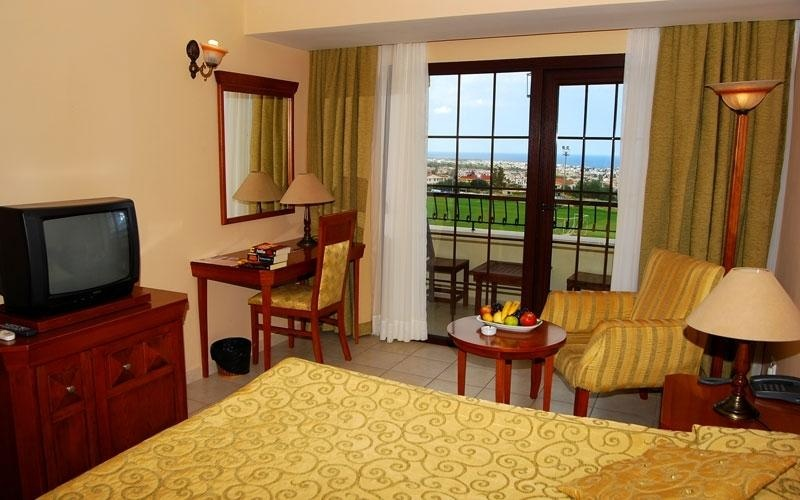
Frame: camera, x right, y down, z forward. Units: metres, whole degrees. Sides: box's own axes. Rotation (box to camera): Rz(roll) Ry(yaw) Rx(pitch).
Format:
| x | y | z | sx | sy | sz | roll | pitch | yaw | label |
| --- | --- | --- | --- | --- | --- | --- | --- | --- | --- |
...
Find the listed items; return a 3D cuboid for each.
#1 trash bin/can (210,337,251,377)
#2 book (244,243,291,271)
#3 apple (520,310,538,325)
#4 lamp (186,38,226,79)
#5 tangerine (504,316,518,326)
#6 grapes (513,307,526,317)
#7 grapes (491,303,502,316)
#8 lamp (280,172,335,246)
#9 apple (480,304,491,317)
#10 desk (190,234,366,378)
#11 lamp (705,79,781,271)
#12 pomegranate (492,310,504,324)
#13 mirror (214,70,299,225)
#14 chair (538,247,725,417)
| x | y | z | sx | sy | sz | roll | pitch | yaw | label |
| --- | --- | --- | --- | --- | --- | --- | --- | --- | --- |
| -1.622 | 0.980 | 5.253 | 0.355 | 0.244 | 0.344 | 6 | 12 | 38 | trash bin/can |
| -1.272 | 0.059 | 5.089 | 0.302 | 0.107 | 0.242 | 8 | 13 | 38 | book |
| 1.005 | 0.532 | 4.327 | 0.112 | 0.108 | 0.111 | 1 | 10 | 13 | apple |
| -1.651 | -1.677 | 4.830 | 0.321 | 0.348 | 0.466 | -11 | 17 | -38 | lamp |
| 0.839 | 0.549 | 4.252 | 0.077 | 0.072 | 0.074 | -3 | 45 | 22 | tangerine |
| 0.933 | 0.492 | 4.376 | 0.070 | 0.045 | 0.093 | -3 | 3 | 4 | grapes |
| 0.761 | 0.462 | 4.373 | 0.070 | 0.060 | 0.083 | 0 | 1 | 4 | grapes |
| -0.962 | -0.415 | 5.660 | 0.752 | 0.861 | 0.696 | 0 | 9 | -2 | lamp |
| 0.663 | 0.485 | 4.367 | 0.077 | 0.075 | 0.076 | 6 | 2 | 39 | apple |
| -1.133 | 0.203 | 5.414 | 1.138 | 1.358 | 2.108 | 8 | 15 | 29 | desk |
| 2.601 | -0.551 | 4.394 | 0.432 | 1.522 | 0.790 | 9 | 16 | 31 | lamp |
| 0.752 | 0.526 | 4.316 | 0.079 | 0.091 | 0.080 | -10 | -2 | 16 | pomegranate |
| -1.458 | -1.032 | 5.487 | 0.135 | 1.764 | 1.487 | 7 | 12 | 29 | mirror |
| 1.710 | 0.629 | 4.822 | 1.504 | 1.601 | 1.243 | -2 | 12 | -6 | chair |
